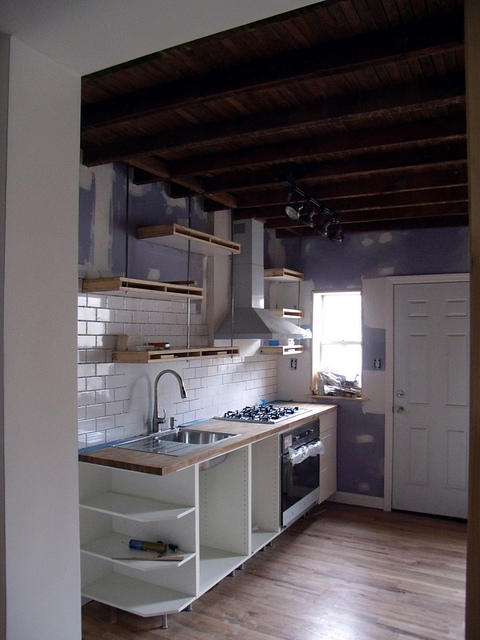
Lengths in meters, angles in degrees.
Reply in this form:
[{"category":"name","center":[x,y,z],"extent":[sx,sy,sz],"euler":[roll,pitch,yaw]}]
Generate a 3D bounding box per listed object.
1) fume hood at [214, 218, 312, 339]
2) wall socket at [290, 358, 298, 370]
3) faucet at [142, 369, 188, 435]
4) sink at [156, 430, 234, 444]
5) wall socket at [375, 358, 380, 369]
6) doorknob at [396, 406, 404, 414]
[{"category":"fume hood","center":[0.177,-0.336,4.320],"extent":[0.554,0.985,0.718],"euler":[0,-2,21]},{"category":"wall socket","center":[0.525,0.424,5.264],"extent":[0.116,0.147,0.015],"euler":[0,-3,28]},{"category":"faucet","center":[-0.437,0.530,3.333],"extent":[0.224,0.446,0.186],"euler":[9,4,30]},{"category":"sink","center":[-0.266,0.757,3.446],"extent":[0.454,0.082,0.208],"euler":[1,-2,1]},{"category":"wall socket","center":[1.227,0.386,4.824],"extent":[0.039,0.089,0.008],"euler":[0,-2,20]},{"category":"doorknob","center":[1.397,0.783,4.703],"extent":[0.051,0.041,0.058],"euler":[-1,-1,7]}]
